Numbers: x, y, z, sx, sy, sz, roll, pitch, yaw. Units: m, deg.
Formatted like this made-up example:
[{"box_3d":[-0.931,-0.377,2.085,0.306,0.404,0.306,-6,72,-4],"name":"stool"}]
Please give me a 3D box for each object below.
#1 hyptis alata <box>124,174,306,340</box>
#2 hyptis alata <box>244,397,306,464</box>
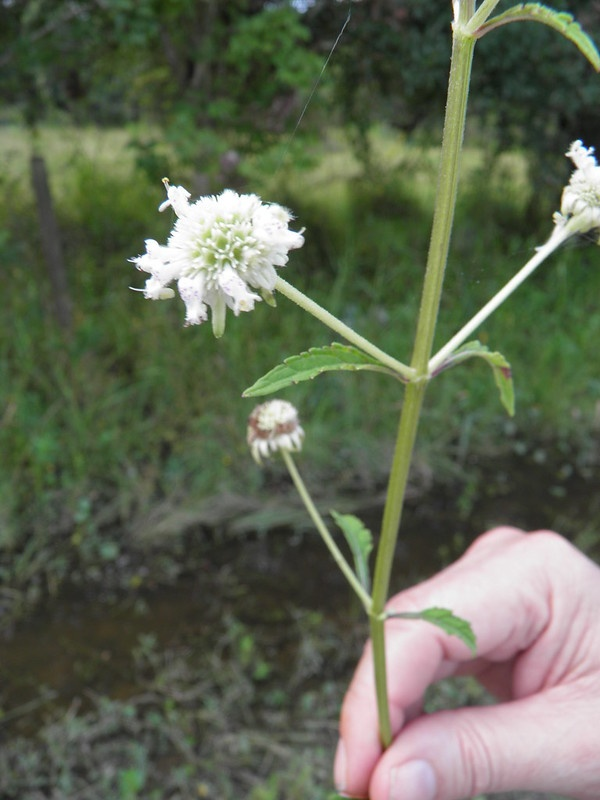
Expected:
[{"box_3d":[-0.094,-0.151,0.859,0.191,0.159,0.165,18,31,30],"name":"hyptis alata"},{"box_3d":[-0.040,0.040,1.104,0.091,0.076,0.082,-13,12,-18],"name":"hyptis alata"}]
